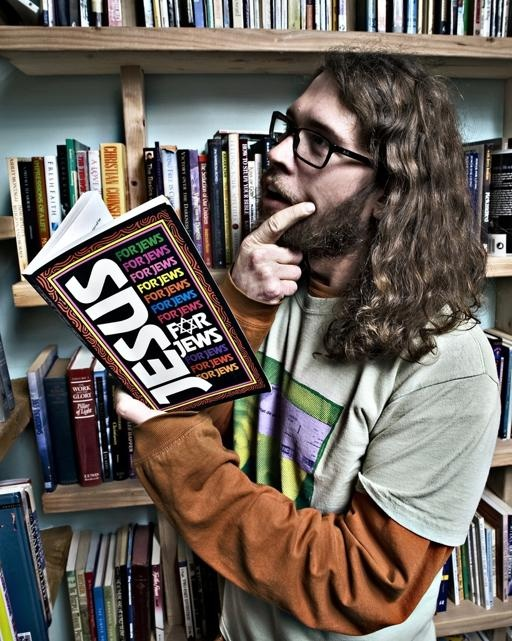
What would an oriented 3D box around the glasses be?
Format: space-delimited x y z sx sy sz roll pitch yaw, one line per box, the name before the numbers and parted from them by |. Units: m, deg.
glasses | 0.089 -0.258 0.854 0.149 0.043 0.148 15 20 -35
